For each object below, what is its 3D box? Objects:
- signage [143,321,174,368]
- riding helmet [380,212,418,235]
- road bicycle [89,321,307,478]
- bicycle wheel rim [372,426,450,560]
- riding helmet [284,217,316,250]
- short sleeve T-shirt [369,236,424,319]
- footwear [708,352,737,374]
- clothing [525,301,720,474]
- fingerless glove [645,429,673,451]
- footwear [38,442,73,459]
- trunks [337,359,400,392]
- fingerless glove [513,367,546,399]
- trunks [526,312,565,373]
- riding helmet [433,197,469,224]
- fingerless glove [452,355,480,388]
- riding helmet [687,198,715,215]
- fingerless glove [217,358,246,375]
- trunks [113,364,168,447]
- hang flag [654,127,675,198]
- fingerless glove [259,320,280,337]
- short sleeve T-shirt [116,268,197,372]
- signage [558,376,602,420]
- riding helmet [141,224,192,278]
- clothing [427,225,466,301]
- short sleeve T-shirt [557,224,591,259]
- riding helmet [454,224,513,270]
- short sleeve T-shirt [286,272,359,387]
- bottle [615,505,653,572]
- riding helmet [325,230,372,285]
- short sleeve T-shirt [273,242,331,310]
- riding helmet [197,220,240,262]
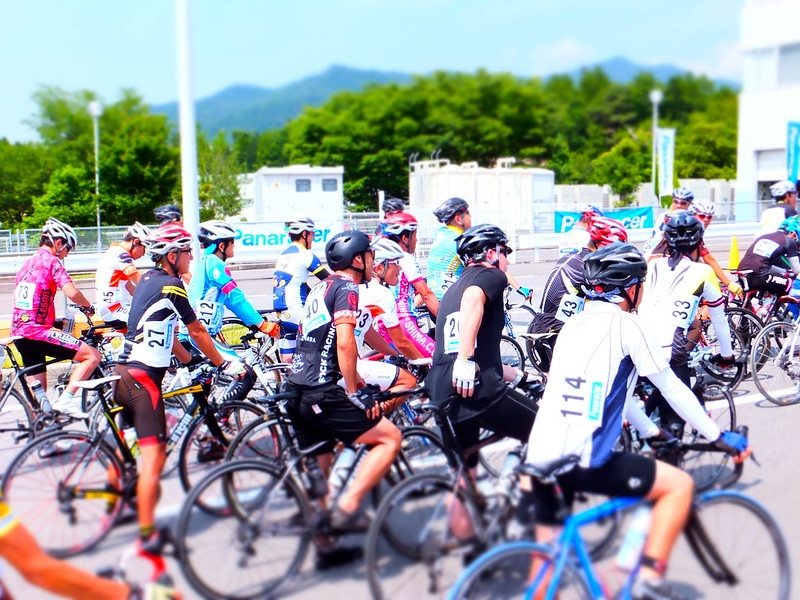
[{"bbox_3d":[-1.856,0.317,5.970,0.265,0.413,0.227,1,-4,8],"label":"signage"},{"bbox_3d":[0.030,-0.734,7.497,0.238,0.148,0.349,4,6,36],"label":"riding helmet"},{"bbox_3d":[-1.777,1.017,6.624,1.233,0.898,0.663,-17,40,13],"label":"road bicycle"},{"bbox_3d":[0.047,1.378,5.229,0.527,0.966,0.420,3,2,-12],"label":"bicycle wheel rim"},{"bbox_3d":[-1.128,-0.798,9.212,0.369,0.381,0.293,-12,17,-31],"label":"riding helmet"},{"bbox_3d":[-0.028,-0.248,7.897,0.642,0.816,0.546,4,1,-17],"label":"short sleeve T-shirt"},{"bbox_3d":[3.140,0.598,7.441,0.256,0.162,0.369,1,-1,10],"label":"footwear"},{"bbox_3d":[1.286,0.441,4.673,1.033,0.925,0.754,-8,3,-15],"label":"clothing"},{"bbox_3d":[1.800,0.961,5.338,0.134,0.063,0.199,-20,-6,21],"label":"fingerless glove"},{"bbox_3d":[-2.548,1.106,5.705,0.165,0.083,0.064,-14,23,-3],"label":"footwear"},{"bbox_3d":[-0.225,0.597,6.406,0.392,0.169,0.248,18,17,-13],"label":"trunks"},{"bbox_3d":[1.171,0.761,7.007,0.331,0.290,0.827,-2,-5,13],"label":"fingerless glove"},{"bbox_3d":[1.615,0.490,8.731,0.508,0.356,0.690,-4,-22,32],"label":"trunks"},{"bbox_3d":[0.584,-0.998,8.834,0.324,0.188,0.272,-16,-4,22],"label":"riding helmet"},{"bbox_3d":[0.442,0.486,5.269,0.180,0.197,0.076,-6,-3,39],"label":"fingerless glove"},{"bbox_3d":[3.704,-1.134,9.537,0.313,0.181,0.471,2,15,6],"label":"riding helmet"},{"bbox_3d":[-1.420,0.568,6.554,0.118,0.081,0.168,3,-2,24],"label":"fingerless glove"},{"bbox_3d":[-1.940,0.790,5.796,0.338,0.651,0.439,-11,-7,-39],"label":"trunks"},{"bbox_3d":[11.809,-5.976,34.244,0.723,3.352,0.063,5,36,26],"label":"hang flag"},{"bbox_3d":[-1.343,0.313,8.166,0.194,0.100,0.147,6,4,-37],"label":"fingerless glove"},{"bbox_3d":[-1.926,0.139,6.035,0.511,0.806,0.574,10,7,42],"label":"short sleeve T-shirt"},{"bbox_3d":[1.031,0.556,4.381,0.236,0.245,0.059,6,0,14],"label":"signage"},{"bbox_3d":[-1.767,-0.387,5.989,0.395,0.534,0.306,-6,8,-11],"label":"riding helmet"},{"bbox_3d":[0.495,-0.373,8.171,0.427,0.896,0.746,-4,11,-13],"label":"clothing"},{"bbox_3d":[2.159,-0.779,9.636,0.299,0.446,0.422,0,-15,20],"label":"short sleeve T-shirt"},{"bbox_3d":[0.620,-0.390,5.756,0.345,0.329,0.273,-6,1,-12],"label":"riding helmet"},{"bbox_3d":[-0.574,0.215,5.638,0.353,0.801,0.583,10,-3,-40],"label":"short sleeve T-shirt"},{"bbox_3d":[1.336,1.362,4.403,0.162,0.357,0.190,4,9,41],"label":"bottle"},{"bbox_3d":[-0.361,-0.307,5.678,0.373,0.384,0.303,-6,7,-28],"label":"riding helmet"},{"bbox_3d":[-1.232,-0.306,9.421,0.718,0.847,0.627,-6,14,-33],"label":"short sleeve T-shirt"},{"bbox_3d":[-1.887,-0.615,8.067,0.413,0.431,0.343,-6,7,-10],"label":"riding helmet"}]
